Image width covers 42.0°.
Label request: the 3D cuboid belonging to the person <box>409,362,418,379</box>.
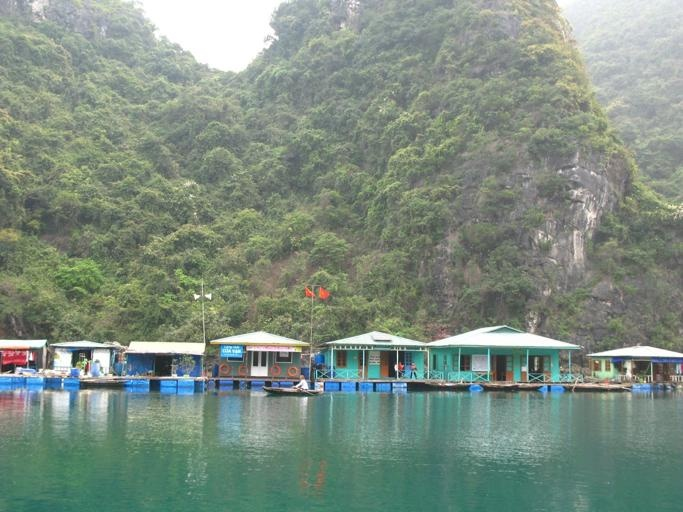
[{"bbox_3d":[7.751,12.316,95.532,0.805,1.329,1.067,2,11,2],"label":"person"}]

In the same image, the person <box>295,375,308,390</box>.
[{"bbox_3d":[-3.880,12.362,86.122,1.137,1.048,1.454,0,12,-9],"label":"person"}]

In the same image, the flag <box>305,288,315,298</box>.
[{"bbox_3d":[-3.781,4.343,104.379,1.051,1.356,0.105,2,-16,-4],"label":"flag"}]

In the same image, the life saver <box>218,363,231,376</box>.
[{"bbox_3d":[-12.292,12.002,93.943,1.199,1.208,0.685,-1,11,-10],"label":"life saver"}]

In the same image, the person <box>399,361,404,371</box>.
[{"bbox_3d":[6.434,12.029,95.622,0.255,0.777,0.545,0,-3,22],"label":"person"}]
